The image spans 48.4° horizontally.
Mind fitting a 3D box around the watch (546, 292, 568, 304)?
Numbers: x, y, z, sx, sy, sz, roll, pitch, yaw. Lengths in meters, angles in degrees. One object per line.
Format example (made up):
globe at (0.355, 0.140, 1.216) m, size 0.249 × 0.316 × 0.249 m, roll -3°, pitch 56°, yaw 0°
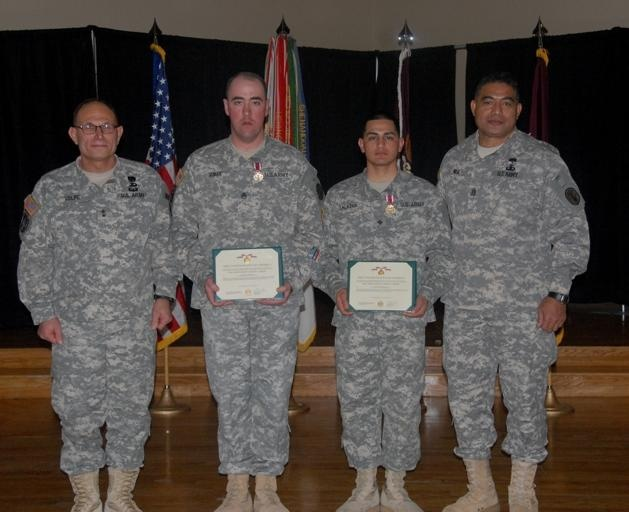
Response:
watch at (1.216, 0.204, 3.531) m, size 0.096 × 0.043 × 0.085 m, roll 8°, pitch -1°, yaw 11°
